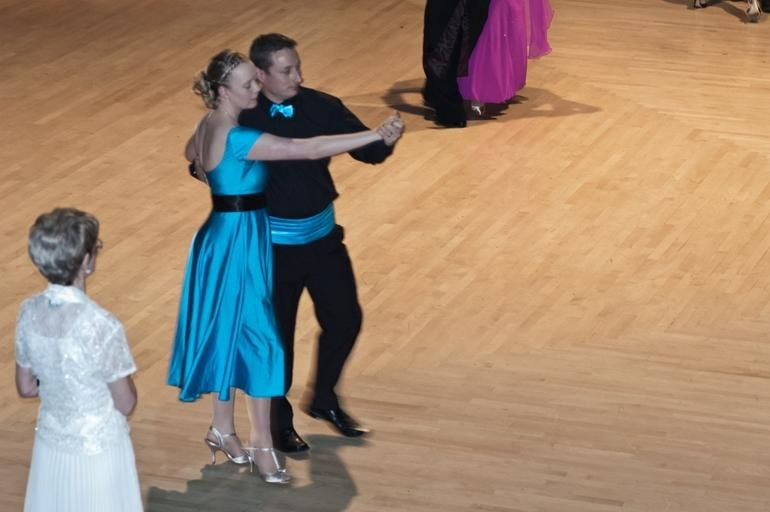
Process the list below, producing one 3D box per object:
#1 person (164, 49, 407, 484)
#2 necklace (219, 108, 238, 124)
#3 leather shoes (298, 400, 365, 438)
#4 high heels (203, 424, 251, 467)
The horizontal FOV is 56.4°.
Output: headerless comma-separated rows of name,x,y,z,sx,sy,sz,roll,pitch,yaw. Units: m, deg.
person,-0.628,0.093,3.519,0.920,2.106,0.585,-1,22,-3
necklace,-0.727,-0.652,3.342,0.083,0.065,0.067,-2,37,-9
leather shoes,-0.239,0.917,4.022,0.427,0.134,0.140,23,10,-5
high heels,-0.780,0.981,3.738,0.340,0.172,0.109,1,5,15
